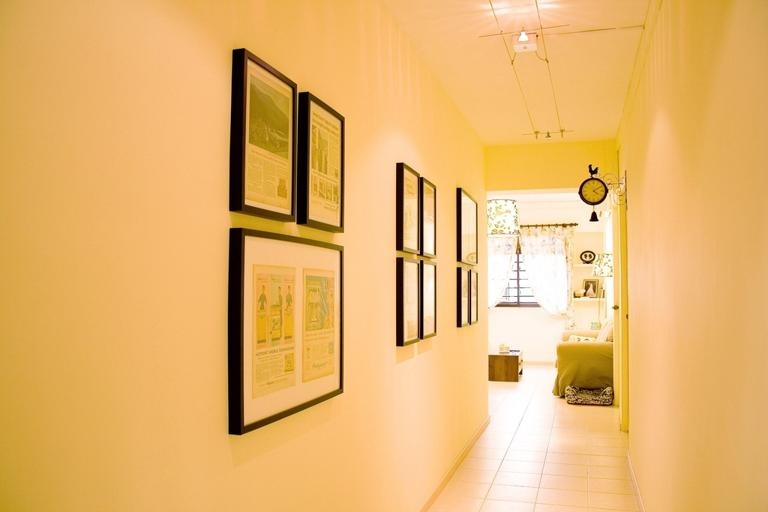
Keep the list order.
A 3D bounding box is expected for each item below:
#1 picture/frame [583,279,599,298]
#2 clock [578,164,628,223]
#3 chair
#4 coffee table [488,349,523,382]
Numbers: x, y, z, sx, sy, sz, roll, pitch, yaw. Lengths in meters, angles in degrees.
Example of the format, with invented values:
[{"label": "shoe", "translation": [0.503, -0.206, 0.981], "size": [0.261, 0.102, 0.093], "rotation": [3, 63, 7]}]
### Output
[{"label": "picture/frame", "translation": [4.671, 0.736, 11.872], "size": [0.372, 0.549, 0.022], "rotation": [2, -11, 8]}, {"label": "clock", "translation": [2.637, -0.762, 6.349], "size": [0.620, 0.654, 0.109], "rotation": [-2, 2, -10]}, {"label": "chair", "translation": [3.268, 1.453, 8.859], "size": [0.957, 1.220, 1.600], "rotation": [0, -10, 18]}, {"label": "coffee table", "translation": [2.349, 2.099, 10.208], "size": [0.540, 0.538, 0.629], "rotation": [-2, -4, 21]}]
